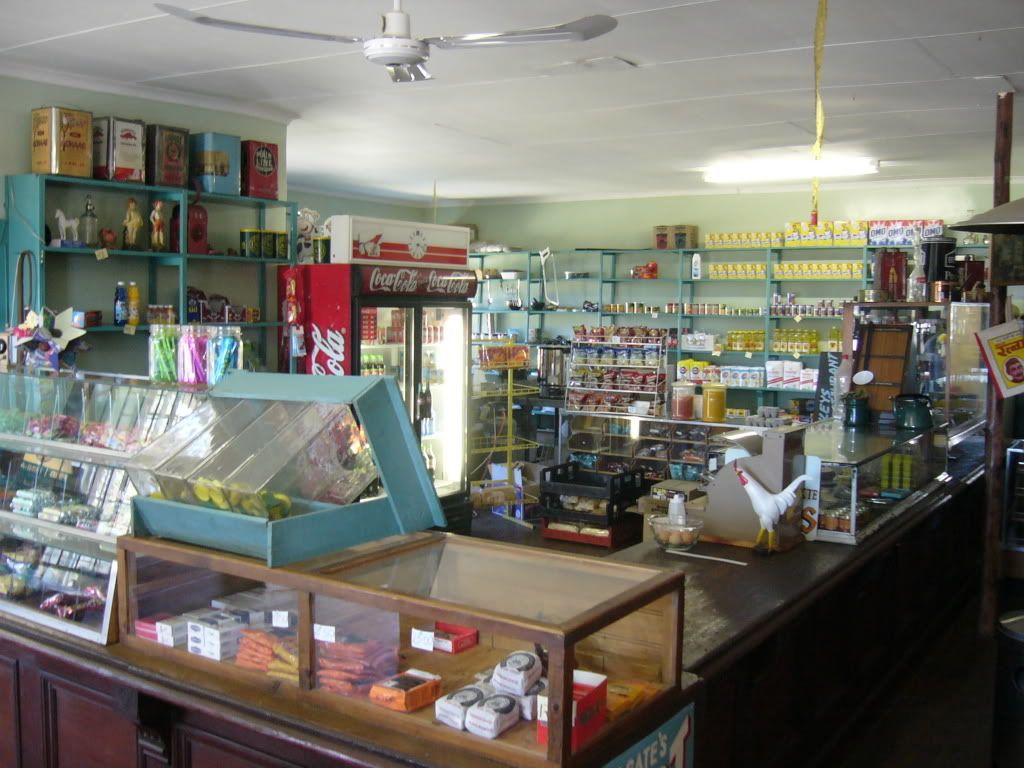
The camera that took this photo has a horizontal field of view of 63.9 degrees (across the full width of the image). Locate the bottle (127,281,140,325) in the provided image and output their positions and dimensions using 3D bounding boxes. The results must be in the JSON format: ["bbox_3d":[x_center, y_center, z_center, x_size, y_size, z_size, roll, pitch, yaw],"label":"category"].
[{"bbox_3d":[-2.884,-0.621,6.268,0.091,0.295,0.454,2,14,-25],"label":"bottle"}]

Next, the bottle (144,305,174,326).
[{"bbox_3d":[-2.729,-0.536,6.376,0.140,0.171,0.262,1,2,40],"label":"bottle"}]

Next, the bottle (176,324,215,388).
[{"bbox_3d":[-1.326,-0.117,3.507,0.192,0.256,0.184,0,1,0],"label":"bottle"}]

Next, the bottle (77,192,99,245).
[{"bbox_3d":[-3.104,-1.206,6.022,0.133,0.354,0.422,2,14,-27],"label":"bottle"}]

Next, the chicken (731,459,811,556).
[{"bbox_3d":[1.235,0.575,3.863,0.394,0.376,0.167,0,2,43],"label":"chicken"}]

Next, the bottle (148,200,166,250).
[{"bbox_3d":[-2.730,-1.235,6.344,0.138,0.367,0.361,3,14,-24],"label":"bottle"}]

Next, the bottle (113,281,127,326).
[{"bbox_3d":[-2.960,-0.616,6.208,0.098,0.289,0.385,2,14,-26],"label":"bottle"}]

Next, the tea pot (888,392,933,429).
[{"bbox_3d":[2.545,0.182,5.194,0.209,0.221,0.243,-1,-1,29],"label":"tea pot"}]

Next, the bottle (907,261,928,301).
[{"bbox_3d":[2.765,-0.686,5.543,0.127,0.250,0.340,14,14,22],"label":"bottle"}]

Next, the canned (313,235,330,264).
[{"bbox_3d":[-1.538,-1.095,6.668,0.068,0.207,0.164,-3,17,-40],"label":"canned"}]

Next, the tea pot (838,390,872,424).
[{"bbox_3d":[2.228,0.152,5.322,0.212,0.270,0.209,3,0,0],"label":"tea pot"}]

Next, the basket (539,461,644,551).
[{"bbox_3d":[0.686,1.024,7.294,0.916,0.800,0.710,4,6,33],"label":"basket"}]

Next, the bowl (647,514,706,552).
[{"bbox_3d":[0.771,0.700,3.933,0.193,0.098,0.184,-1,-3,0],"label":"bowl"}]
